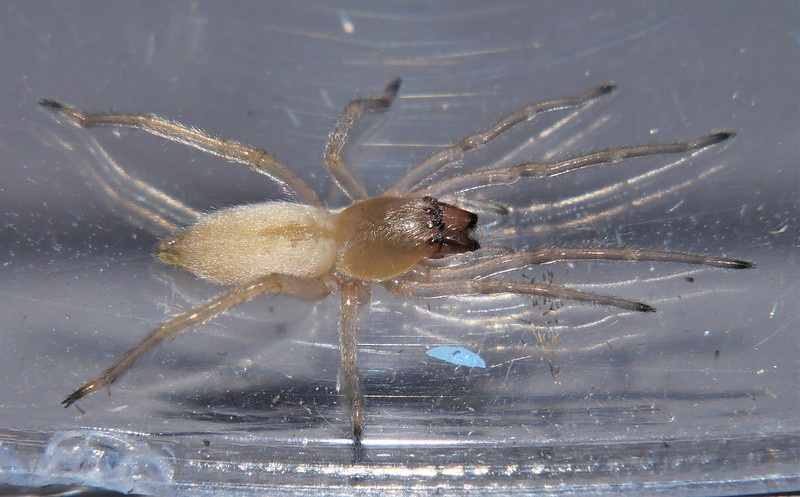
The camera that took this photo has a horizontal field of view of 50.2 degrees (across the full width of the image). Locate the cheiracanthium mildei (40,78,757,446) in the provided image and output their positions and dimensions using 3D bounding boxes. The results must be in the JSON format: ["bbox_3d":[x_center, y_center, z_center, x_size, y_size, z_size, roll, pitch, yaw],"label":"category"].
[{"bbox_3d":[-0.232,-0.055,4.993,3.283,2.365,1.352,15,23,-8],"label":"cheiracanthium mildei"}]
